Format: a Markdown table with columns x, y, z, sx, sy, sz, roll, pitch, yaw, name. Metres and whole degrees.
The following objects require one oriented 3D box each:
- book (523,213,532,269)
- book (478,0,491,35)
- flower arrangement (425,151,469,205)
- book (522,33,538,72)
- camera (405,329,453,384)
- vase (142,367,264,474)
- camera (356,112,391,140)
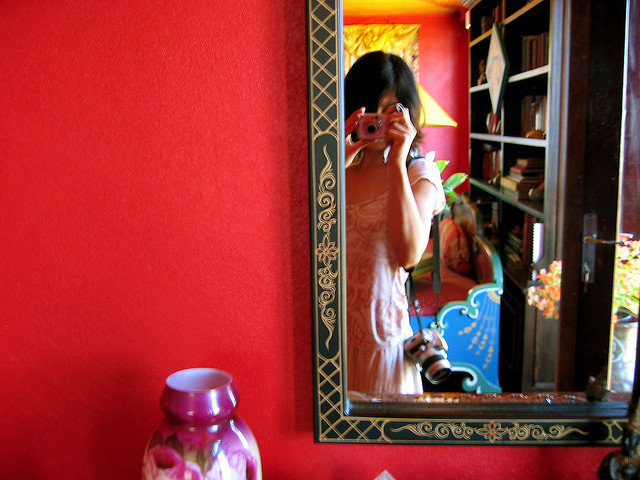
| x | y | z | sx | sy | sz | roll | pitch | yaw | name |
| --- | --- | --- | --- | --- | --- | --- | --- | --- | --- |
| 0.453 | -0.001 | 1.238 | 0.017 | 0.080 | 0.074 | -3 | -14 | 14 | book |
| 0.354 | -0.473 | 1.216 | 0.024 | 0.068 | 0.008 | 1 | 3 | 13 | book |
| 0.274 | -0.138 | 1.257 | 0.063 | 0.118 | 0.086 | 1 | 14 | -4 | flower arrangement |
| 0.443 | -0.400 | 1.212 | 0.013 | 0.061 | 0.056 | 1 | 5 | 11 | book |
| 0.248 | 0.246 | 1.292 | 0.085 | 0.112 | 0.104 | 5 | 13 | 15 | camera |
| -0.246 | 0.337 | 1.233 | 0.213 | 0.249 | 0.213 | 0 | 1 | -32 | vase |
| 0.113 | -0.247 | 1.242 | 0.056 | 0.063 | 0.110 | 0 | 9 | 4 | camera |
